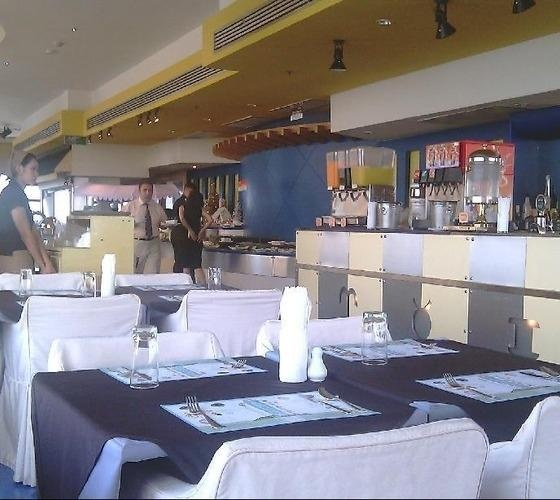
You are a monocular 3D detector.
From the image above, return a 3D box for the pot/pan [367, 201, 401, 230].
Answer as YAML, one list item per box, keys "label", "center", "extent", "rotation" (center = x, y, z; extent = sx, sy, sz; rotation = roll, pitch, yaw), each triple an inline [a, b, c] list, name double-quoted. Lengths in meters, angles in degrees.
- label: "pot/pan"
  center: [0.921, -0.306, 4.390]
  extent: [0.247, 0.213, 0.240]
  rotation: [1, 0, 23]

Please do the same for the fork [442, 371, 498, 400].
- label: "fork"
  center: [0.520, 0.368, 1.373]
  extent: [0.026, 0.031, 0.200]
  rotation: [12, 6, -14]

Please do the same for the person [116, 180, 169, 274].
- label: "person"
  center: [-1.835, -0.285, 6.678]
  extent: [0.554, 1.187, 0.976]
  rotation: [1, -2, -17]

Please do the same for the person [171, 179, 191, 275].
- label: "person"
  center: [-1.561, -0.305, 7.688]
  extent: [0.278, 1.302, 2.428]
  rotation: [1, -2, -11]

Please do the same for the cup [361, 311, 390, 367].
- label: "cup"
  center: [0.326, 0.305, 1.716]
  extent: [0.101, 0.179, 0.104]
  rotation: [1, -3, 0]

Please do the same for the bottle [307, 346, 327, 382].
- label: "bottle"
  center: [0.103, 0.337, 1.459]
  extent: [0.074, 0.124, 0.079]
  rotation: [0, -2, 0]

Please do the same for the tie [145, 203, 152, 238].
- label: "tie"
  center: [-1.777, -0.380, 6.607]
  extent: [0.091, 0.440, 0.138]
  rotation: [0, -2, 41]
